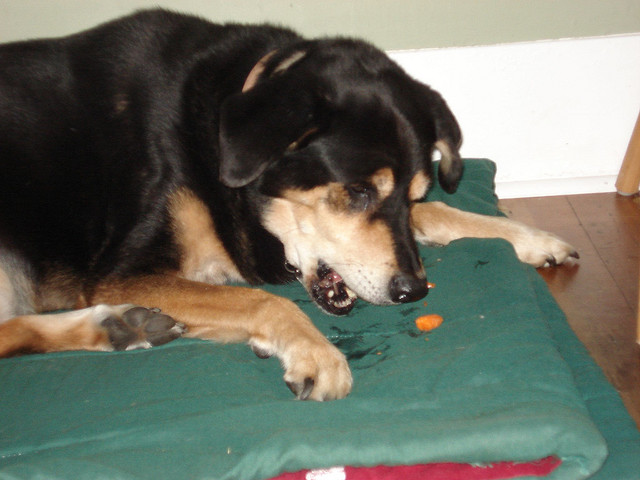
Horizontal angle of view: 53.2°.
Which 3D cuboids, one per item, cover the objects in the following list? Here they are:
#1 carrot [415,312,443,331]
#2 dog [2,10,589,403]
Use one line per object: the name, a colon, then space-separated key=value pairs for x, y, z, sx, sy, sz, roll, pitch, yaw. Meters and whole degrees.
carrot: x=0.468 y=0.354 z=2.720 sx=0.109 sy=0.025 sz=0.089 roll=1 pitch=31 yaw=7
dog: x=-0.502 y=-0.239 z=2.710 sx=1.962 sy=1.225 sz=1.660 roll=8 pitch=38 yaw=17
